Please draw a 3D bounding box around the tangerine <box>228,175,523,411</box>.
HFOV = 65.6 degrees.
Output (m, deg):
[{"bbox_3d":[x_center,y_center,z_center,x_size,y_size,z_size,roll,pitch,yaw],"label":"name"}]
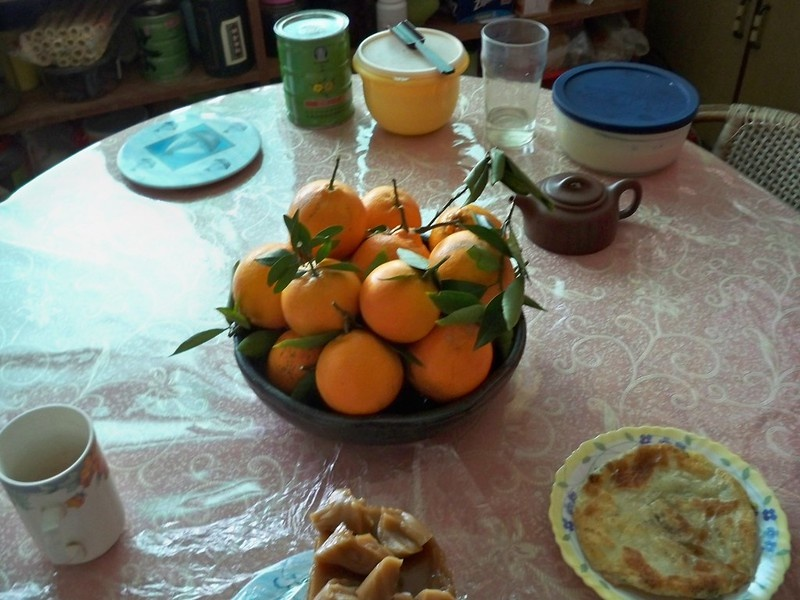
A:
[{"bbox_3d":[-0.031,0.043,0.682,0.272,0.116,0.280,14,42,14],"label":"tangerine"}]
